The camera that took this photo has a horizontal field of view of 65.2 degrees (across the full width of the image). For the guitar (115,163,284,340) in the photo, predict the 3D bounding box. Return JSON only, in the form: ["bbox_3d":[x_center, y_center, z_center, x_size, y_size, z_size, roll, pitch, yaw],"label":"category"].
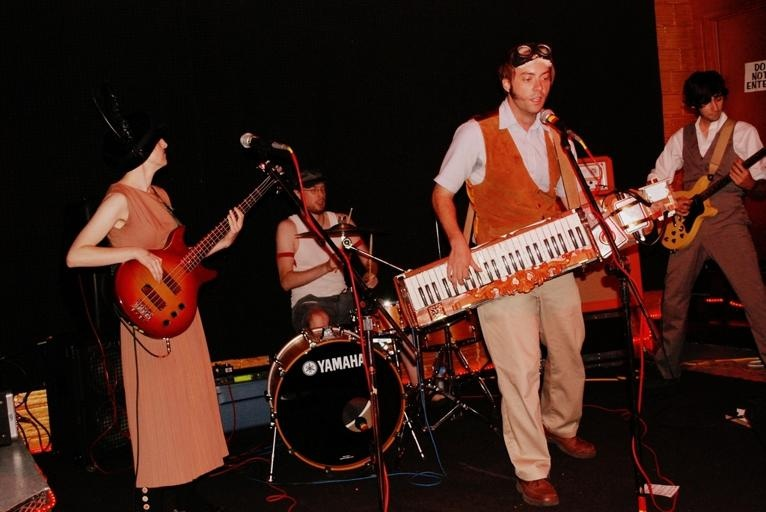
[{"bbox_3d":[-1.195,-0.119,4.420,0.199,0.673,1.767,-10,34,46],"label":"guitar"}]

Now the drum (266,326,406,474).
[{"bbox_3d":[-0.346,1.171,4.776,1.201,1.344,0.579,2,-2,-7],"label":"drum"}]

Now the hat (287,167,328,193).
[{"bbox_3d":[-0.672,-0.755,5.926,0.281,0.149,0.427,-7,2,5],"label":"hat"}]

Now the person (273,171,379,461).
[{"bbox_3d":[-0.451,0.333,5.648,1.071,2.254,0.945,0,10,33],"label":"person"}]

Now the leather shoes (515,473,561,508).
[{"bbox_3d":[1.124,1.717,4.352,0.144,0.152,0.318,0,-6,-21],"label":"leather shoes"}]

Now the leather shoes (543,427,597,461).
[{"bbox_3d":[1.542,1.530,4.879,0.435,0.216,0.193,5,12,29],"label":"leather shoes"}]
